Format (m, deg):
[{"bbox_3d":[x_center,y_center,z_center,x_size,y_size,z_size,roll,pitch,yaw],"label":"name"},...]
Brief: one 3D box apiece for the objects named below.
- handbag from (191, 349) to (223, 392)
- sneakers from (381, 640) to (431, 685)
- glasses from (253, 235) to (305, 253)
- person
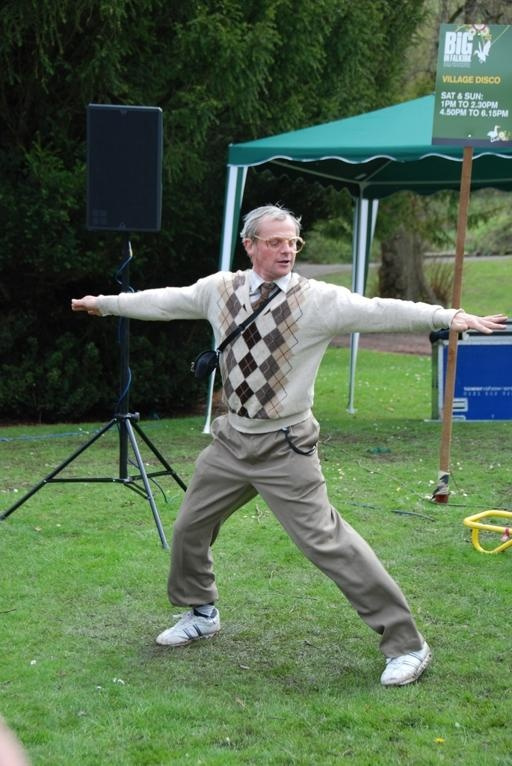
[{"bbox_3d":[-0.219,-0.052,4.375,0.132,0.167,0.065,30,-3,28],"label":"handbag"},{"bbox_3d":[0.604,1.151,4.103,0.248,0.107,0.101,-32,-2,-46],"label":"sneakers"},{"bbox_3d":[0.096,-0.562,4.090,0.205,0.069,0.143,-2,9,-10],"label":"glasses"},{"bbox_3d":[0.094,0.242,4.147,1.495,1.911,0.394,6,13,31],"label":"person"}]
